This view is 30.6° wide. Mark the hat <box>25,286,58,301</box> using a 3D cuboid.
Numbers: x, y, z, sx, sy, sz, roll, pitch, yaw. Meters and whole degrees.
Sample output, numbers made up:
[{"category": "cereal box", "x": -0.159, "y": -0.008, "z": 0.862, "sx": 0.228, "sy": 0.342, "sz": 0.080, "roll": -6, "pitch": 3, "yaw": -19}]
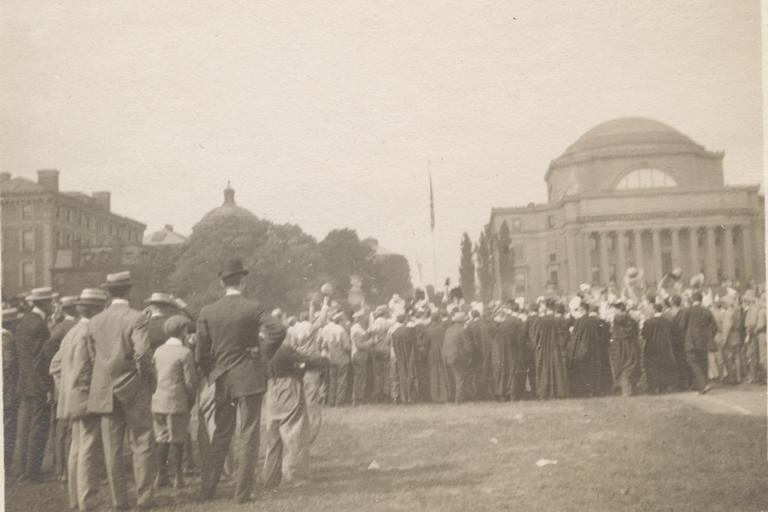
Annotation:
[{"category": "hat", "x": -5.638, "y": 0.621, "z": 22.779, "sx": 0.353, "sy": 0.083, "sz": 0.303, "roll": -6, "pitch": 4, "yaw": 18}]

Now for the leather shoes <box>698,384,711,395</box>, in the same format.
[{"category": "leather shoes", "x": 5.341, "y": 2.186, "z": 23.175, "sx": 0.294, "sy": 0.106, "sz": 0.050, "roll": -24, "pitch": -13, "yaw": -22}]

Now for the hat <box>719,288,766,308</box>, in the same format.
[{"category": "hat", "x": 6.048, "y": 0.689, "z": 23.439, "sx": 0.501, "sy": 0.161, "sz": 0.453, "roll": -3, "pitch": -1, "yaw": -22}]
